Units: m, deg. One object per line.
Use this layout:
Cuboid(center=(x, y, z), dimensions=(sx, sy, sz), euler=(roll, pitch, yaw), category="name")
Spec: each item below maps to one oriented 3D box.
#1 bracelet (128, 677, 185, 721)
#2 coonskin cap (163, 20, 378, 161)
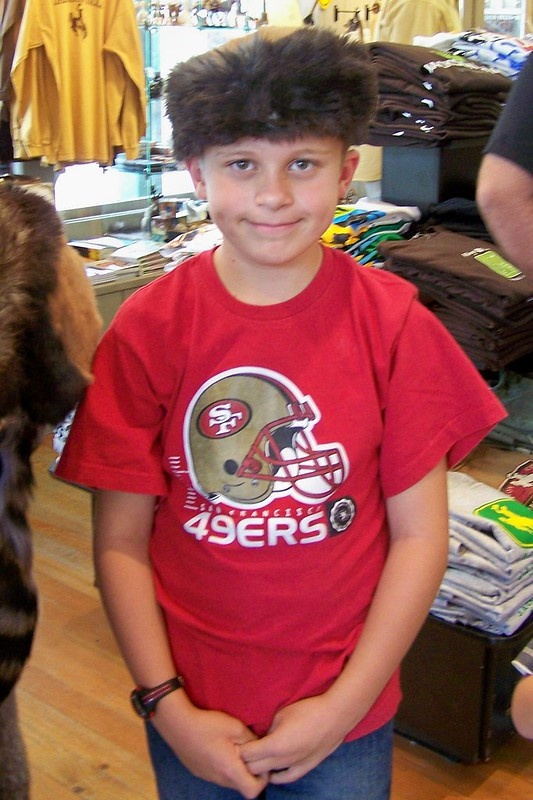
Cuboid(center=(-0.128, 0.330, 0.695), dimensions=(0.060, 0.036, 0.057), euler=(-21, -22, -25), category="bracelet")
Cuboid(center=(0.010, -0.291, 0.629), dimensions=(0.152, 0.068, 0.149), euler=(-12, -10, 38), category="coonskin cap")
